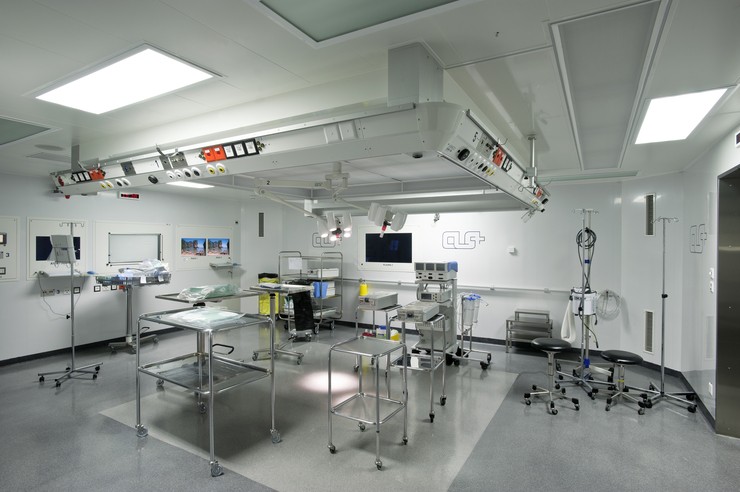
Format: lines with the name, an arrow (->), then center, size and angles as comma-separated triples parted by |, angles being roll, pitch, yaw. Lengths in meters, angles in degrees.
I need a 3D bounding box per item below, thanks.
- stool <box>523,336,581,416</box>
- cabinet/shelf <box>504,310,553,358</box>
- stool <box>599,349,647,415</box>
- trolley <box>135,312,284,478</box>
stool -> 2.644, 1.838, 6.680 | 0.810, 0.912, 0.772 | 1, -3, 19
cabinet/shelf -> 2.968, 1.605, 8.485 | 0.752, 0.759, 0.428 | -2, -4, 32
stool -> 3.682, 1.928, 6.644 | 0.680, 0.614, 0.680 | -3, 3, 2
trolley -> -2.087, 1.441, 6.225 | 2.288, 2.157, 1.856 | 2, 3, 40
